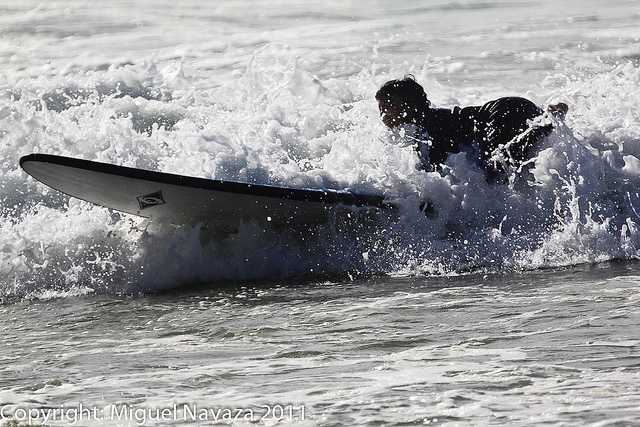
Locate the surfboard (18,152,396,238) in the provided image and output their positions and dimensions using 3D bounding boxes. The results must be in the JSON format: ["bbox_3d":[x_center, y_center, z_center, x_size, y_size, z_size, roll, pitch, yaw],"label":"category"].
[{"bbox_3d":[-1.218,-0.196,12.034,5.906,0.523,0.804,5,83,-10],"label":"surfboard"}]

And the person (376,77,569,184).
[{"bbox_3d":[1.785,-1.028,12.500,3.041,1.399,0.904,-2,41,16],"label":"person"}]
